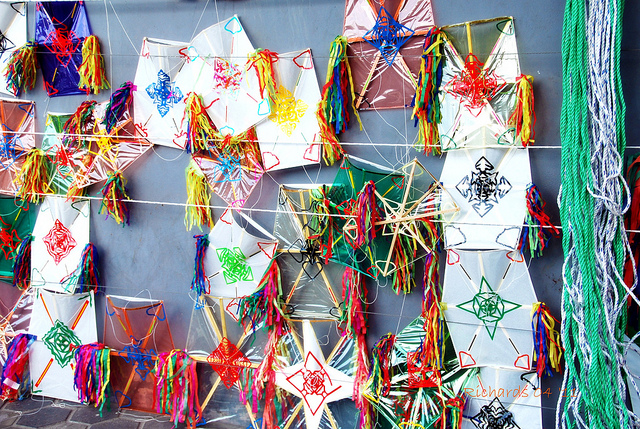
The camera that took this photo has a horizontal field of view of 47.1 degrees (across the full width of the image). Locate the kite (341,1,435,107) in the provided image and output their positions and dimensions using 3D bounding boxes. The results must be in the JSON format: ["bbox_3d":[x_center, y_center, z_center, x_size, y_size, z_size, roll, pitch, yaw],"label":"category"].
[{"bbox_3d":[0.321,-0.753,3.356,0.421,0.617,0.082,1,9,13],"label":"kite"}]

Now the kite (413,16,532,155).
[{"bbox_3d":[0.702,-0.598,3.295,0.554,0.652,0.131,-1,1,12],"label":"kite"}]

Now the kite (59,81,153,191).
[{"bbox_3d":[-1.033,-0.409,3.616,0.510,0.434,0.140,-33,-8,14],"label":"kite"}]

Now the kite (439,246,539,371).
[{"bbox_3d":[0.783,0.417,3.338,0.489,0.662,0.050,-2,4,17],"label":"kite"}]

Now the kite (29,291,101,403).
[{"bbox_3d":[-1.280,0.655,3.720,0.483,0.730,0.035,3,6,10],"label":"kite"}]

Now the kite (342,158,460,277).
[{"bbox_3d":[0.375,0.016,3.371,0.530,0.505,0.180,-40,-5,6],"label":"kite"}]

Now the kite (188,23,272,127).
[{"bbox_3d":[-0.433,-0.715,3.527,0.077,0.427,0.472,20,-18,36],"label":"kite"}]

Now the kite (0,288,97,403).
[{"bbox_3d":[-1.363,0.674,3.736,0.504,0.624,0.135,3,1,13],"label":"kite"}]

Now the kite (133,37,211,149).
[{"bbox_3d":[-0.702,-0.607,3.535,0.315,0.524,0.331,3,20,-39],"label":"kite"}]

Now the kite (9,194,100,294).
[{"bbox_3d":[-1.324,0.141,3.709,0.403,0.443,0.167,7,-3,17],"label":"kite"}]

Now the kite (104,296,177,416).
[{"bbox_3d":[-0.883,0.687,3.651,0.506,0.569,0.088,3,6,22],"label":"kite"}]

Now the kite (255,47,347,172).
[{"bbox_3d":[-0.129,-0.537,3.478,0.412,0.598,0.174,2,37,14],"label":"kite"}]

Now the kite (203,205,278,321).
[{"bbox_3d":[-0.403,0.249,3.575,0.399,0.463,0.463,4,33,-10],"label":"kite"}]

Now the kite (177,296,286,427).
[{"bbox_3d":[-0.413,0.711,3.558,0.541,0.697,0.043,4,3,22],"label":"kite"}]

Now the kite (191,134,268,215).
[{"bbox_3d":[-0.421,-0.201,3.541,0.328,0.504,0.104,-17,-16,-20],"label":"kite"}]

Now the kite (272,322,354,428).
[{"bbox_3d":[-0.026,0.743,3.497,0.449,0.570,0.041,-2,3,6],"label":"kite"}]

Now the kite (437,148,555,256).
[{"bbox_3d":[0.813,-0.062,3.306,0.426,0.432,0.066,2,2,13],"label":"kite"}]
